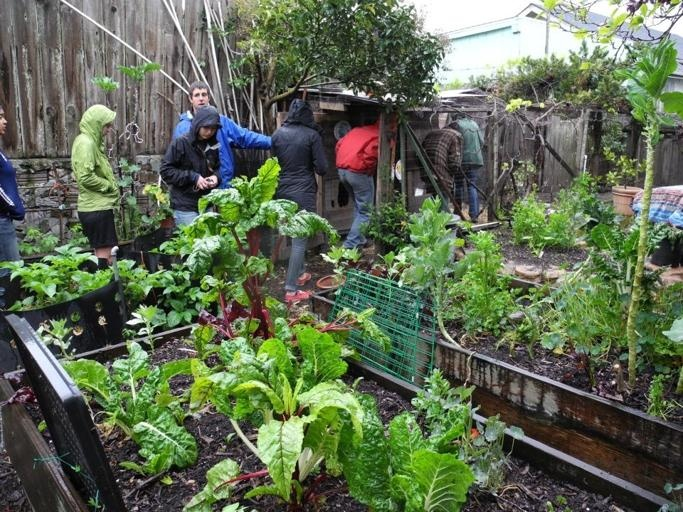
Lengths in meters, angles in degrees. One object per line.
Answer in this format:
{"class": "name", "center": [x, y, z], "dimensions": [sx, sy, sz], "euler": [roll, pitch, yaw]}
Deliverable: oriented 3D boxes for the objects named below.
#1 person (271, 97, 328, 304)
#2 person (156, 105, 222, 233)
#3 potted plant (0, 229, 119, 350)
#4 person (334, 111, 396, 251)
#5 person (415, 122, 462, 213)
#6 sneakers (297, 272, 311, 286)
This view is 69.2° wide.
{"class": "person", "center": [-0.517, -0.723, 6.168], "dimensions": [0.693, 2.395, 0.751], "euler": [0, 11, -7]}
{"class": "person", "center": [-1.619, -0.950, 5.311], "dimensions": [0.656, 1.291, 0.491], "euler": [-1, 11, -10]}
{"class": "potted plant", "center": [-2.012, 0.265, 3.589], "dimensions": [0.675, 0.455, 0.678], "euler": [-6, 22, -16]}
{"class": "person", "center": [0.228, -0.992, 6.905], "dimensions": [0.593, 1.739, 1.104], "euler": [1, 11, 0]}
{"class": "person", "center": [1.564, -1.457, 7.728], "dimensions": [0.625, 1.265, 0.707], "euler": [4, 12, 12]}
{"class": "sneakers", "center": [-0.504, 0.305, 6.626], "dimensions": [0.084, 0.097, 0.224], "euler": [8, 32, 22]}
